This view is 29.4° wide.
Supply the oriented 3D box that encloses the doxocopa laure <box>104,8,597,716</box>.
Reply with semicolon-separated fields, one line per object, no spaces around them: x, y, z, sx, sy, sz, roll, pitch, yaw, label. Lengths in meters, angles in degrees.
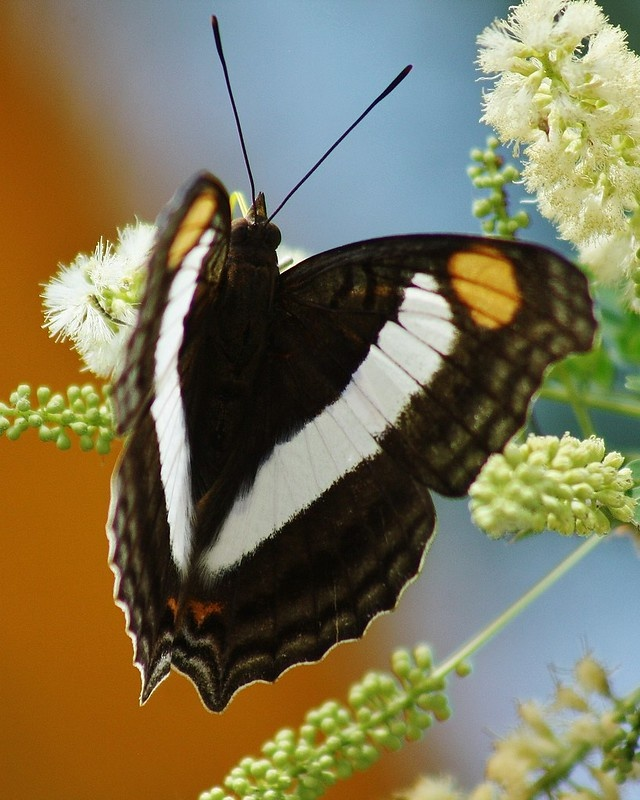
-0.072;0.015;1.255;0.459;0.355;0.617;25;-75;-28;doxocopa laure
